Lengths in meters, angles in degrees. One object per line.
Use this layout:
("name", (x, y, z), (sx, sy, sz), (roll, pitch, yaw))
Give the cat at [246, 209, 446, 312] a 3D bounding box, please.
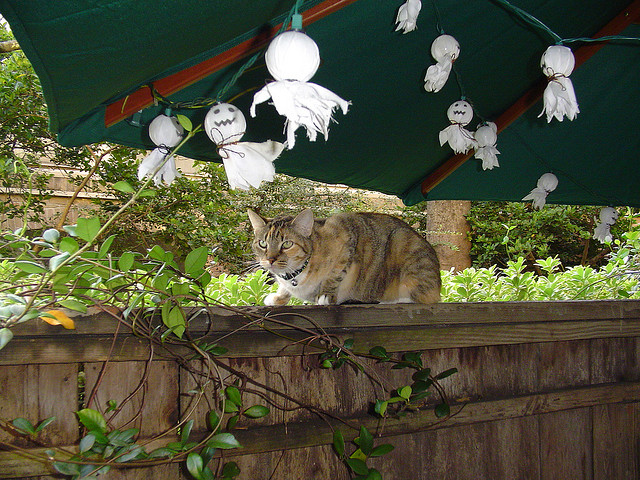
("cat", (0.189, 0.119, 6.191), (1.349, 0.667, 0.808), (-1, 0, -30))
